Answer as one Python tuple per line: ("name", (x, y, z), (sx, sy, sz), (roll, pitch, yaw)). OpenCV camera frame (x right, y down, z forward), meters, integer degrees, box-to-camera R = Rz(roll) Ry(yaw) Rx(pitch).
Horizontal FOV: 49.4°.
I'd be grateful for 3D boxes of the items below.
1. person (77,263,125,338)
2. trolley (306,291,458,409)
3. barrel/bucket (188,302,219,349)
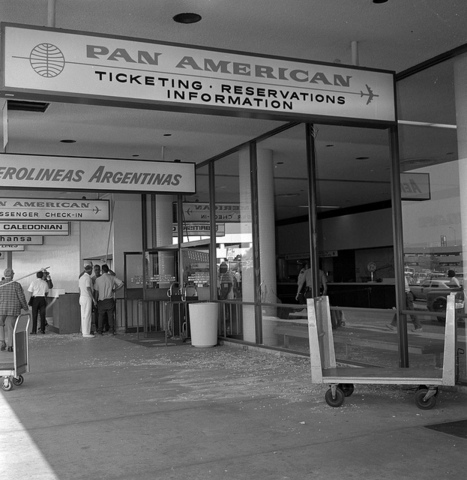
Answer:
("person", (-3.355, 1.491, 12.807), (1.045, 1.772, 0.967), (-2, -2, -31))
("trolley", (1.417, 1.060, 5.053), (1.293, 0.773, 1.151), (-3, -2, 10))
("barrel/bucket", (-0.570, 1.669, 10.149), (0.795, 1.187, 0.701), (-1, -7, -4))
